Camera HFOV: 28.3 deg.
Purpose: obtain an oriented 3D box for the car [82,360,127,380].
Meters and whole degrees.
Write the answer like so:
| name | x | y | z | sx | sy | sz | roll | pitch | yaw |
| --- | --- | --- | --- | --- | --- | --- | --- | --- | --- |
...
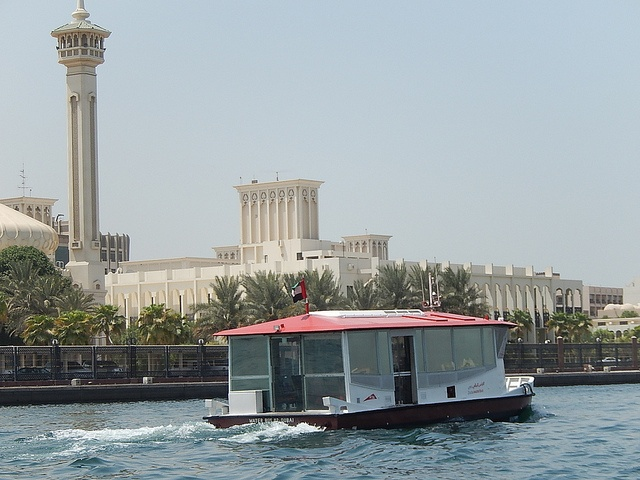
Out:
| name | x | y | z | sx | sy | sz | roll | pitch | yaw |
| --- | --- | --- | --- | --- | --- | --- | --- | --- | --- |
| car | -12.483 | 7.628 | 73.917 | 1.851 | 0.967 | 1.120 | -2 | 0 | 9 |

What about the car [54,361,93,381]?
| name | x | y | z | sx | sy | sz | roll | pitch | yaw |
| --- | --- | --- | --- | --- | --- | --- | --- | --- | --- |
| car | -14.094 | 7.540 | 73.140 | 1.585 | 0.842 | 1.003 | -2 | -1 | -3 |

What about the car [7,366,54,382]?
| name | x | y | z | sx | sy | sz | roll | pitch | yaw |
| --- | --- | --- | --- | --- | --- | --- | --- | --- | --- |
| car | -16.415 | 7.575 | 71.866 | 1.796 | 0.667 | 0.869 | -3 | 9 | -8 |
